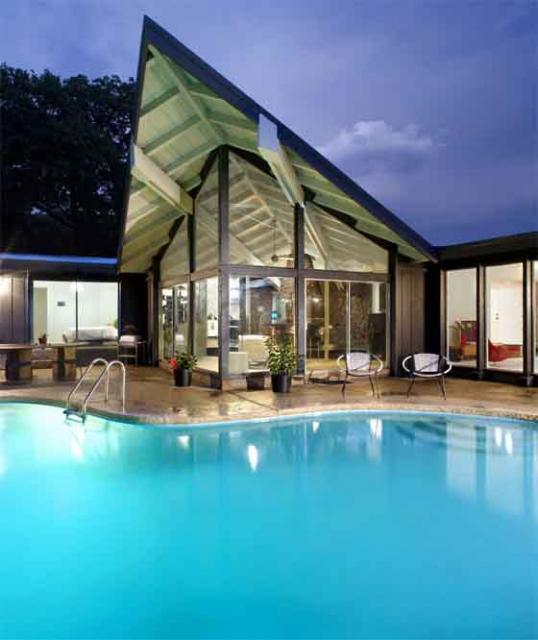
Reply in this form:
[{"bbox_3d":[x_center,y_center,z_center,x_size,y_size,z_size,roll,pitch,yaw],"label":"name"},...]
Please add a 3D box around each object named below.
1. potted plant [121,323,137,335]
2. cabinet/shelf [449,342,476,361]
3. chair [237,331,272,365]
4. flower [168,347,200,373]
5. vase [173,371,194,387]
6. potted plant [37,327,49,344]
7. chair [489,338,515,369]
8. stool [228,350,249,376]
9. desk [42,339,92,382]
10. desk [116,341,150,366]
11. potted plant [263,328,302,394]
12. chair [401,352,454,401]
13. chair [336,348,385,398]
[{"bbox_3d":[-3.958,0.243,15.007,0.333,0.241,0.340,0,-4,20],"label":"potted plant"},{"bbox_3d":[4.231,0.688,11.540,0.619,0.394,0.330,0,2,-35],"label":"cabinet/shelf"},{"bbox_3d":[-0.280,0.493,9.756,0.540,0.504,0.520,2,-4,-30],"label":"chair"},{"bbox_3d":[-1.626,0.753,10.270,0.437,0.343,0.490,-2,-3,38],"label":"flower"},{"bbox_3d":[-1.639,1.078,10.058,0.319,0.328,0.367,-1,3,-6],"label":"vase"},{"bbox_3d":[-6.167,0.394,14.471,0.341,0.484,0.374,3,-7,-26],"label":"potted plant"},{"bbox_3d":[4.696,0.668,10.714,0.493,0.473,0.398,-3,-3,24],"label":"chair"},{"bbox_3d":[-0.542,0.775,9.629,0.387,0.368,0.380,0,-1,3],"label":"stool"},{"bbox_3d":[-4.257,0.829,11.106,0.795,0.760,0.805,0,-1,22],"label":"desk"},{"bbox_3d":[-3.751,0.901,14.765,0.871,0.833,0.720,1,1,9],"label":"desk"},{"bbox_3d":[0.224,0.725,9.529,0.569,0.999,1.022,0,3,-2],"label":"potted plant"},{"bbox_3d":[2.699,0.925,9.079,0.796,0.714,0.620,1,-3,19],"label":"chair"},{"bbox_3d":[1.578,0.923,9.257,0.785,0.726,0.585,1,-3,-1],"label":"chair"}]
